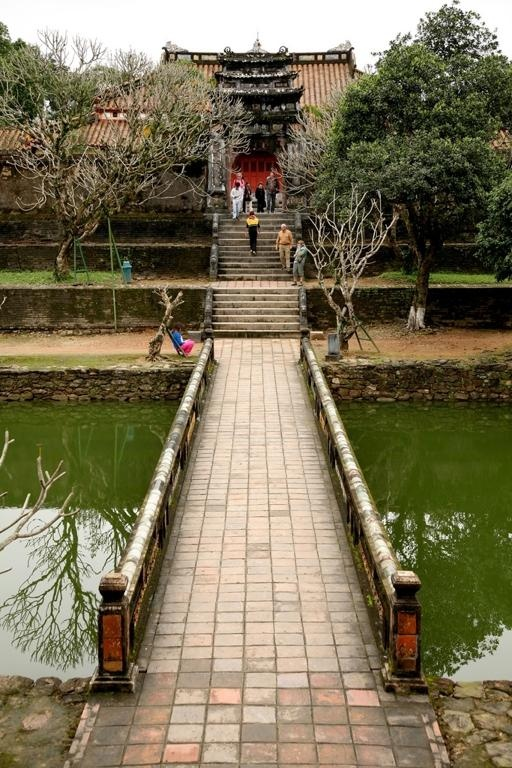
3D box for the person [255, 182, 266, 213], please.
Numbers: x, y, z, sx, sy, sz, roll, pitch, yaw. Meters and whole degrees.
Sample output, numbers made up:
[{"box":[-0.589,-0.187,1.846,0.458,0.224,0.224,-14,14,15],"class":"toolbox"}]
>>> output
[{"box":[0.171,-7.249,22.541,0.401,1.207,0.990,-1,7,3],"class":"person"}]
